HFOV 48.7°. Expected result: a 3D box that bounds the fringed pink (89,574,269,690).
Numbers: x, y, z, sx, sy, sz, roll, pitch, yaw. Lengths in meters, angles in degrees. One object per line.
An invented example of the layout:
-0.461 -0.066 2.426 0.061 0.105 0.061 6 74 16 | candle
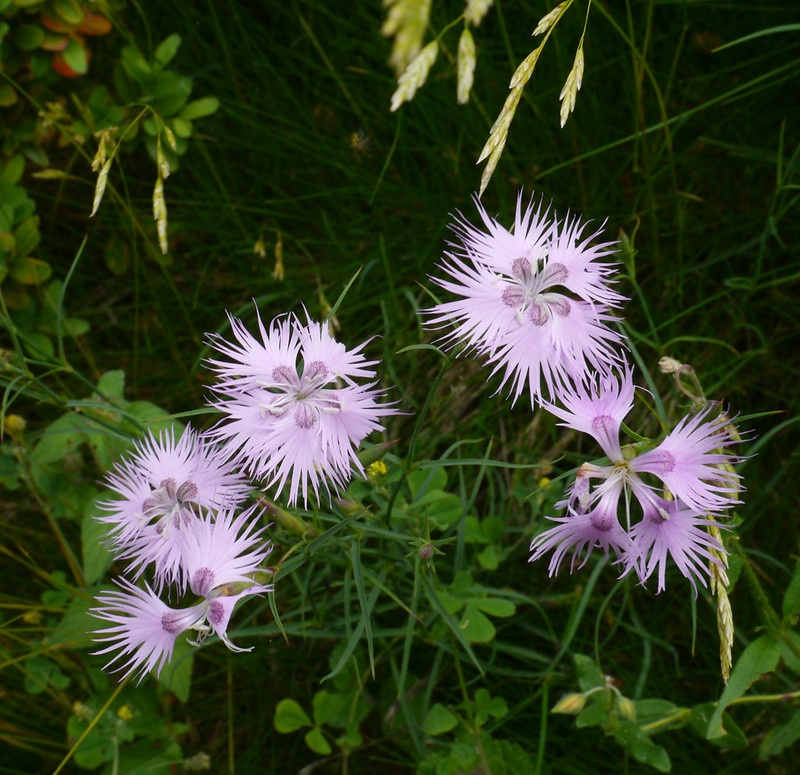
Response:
-0.290 0.326 1.298 0.173 0.140 0.067 -3 54 50 | fringed pink

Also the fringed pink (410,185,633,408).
0.184 -0.130 1.318 0.283 0.203 0.330 -26 62 -4 | fringed pink
